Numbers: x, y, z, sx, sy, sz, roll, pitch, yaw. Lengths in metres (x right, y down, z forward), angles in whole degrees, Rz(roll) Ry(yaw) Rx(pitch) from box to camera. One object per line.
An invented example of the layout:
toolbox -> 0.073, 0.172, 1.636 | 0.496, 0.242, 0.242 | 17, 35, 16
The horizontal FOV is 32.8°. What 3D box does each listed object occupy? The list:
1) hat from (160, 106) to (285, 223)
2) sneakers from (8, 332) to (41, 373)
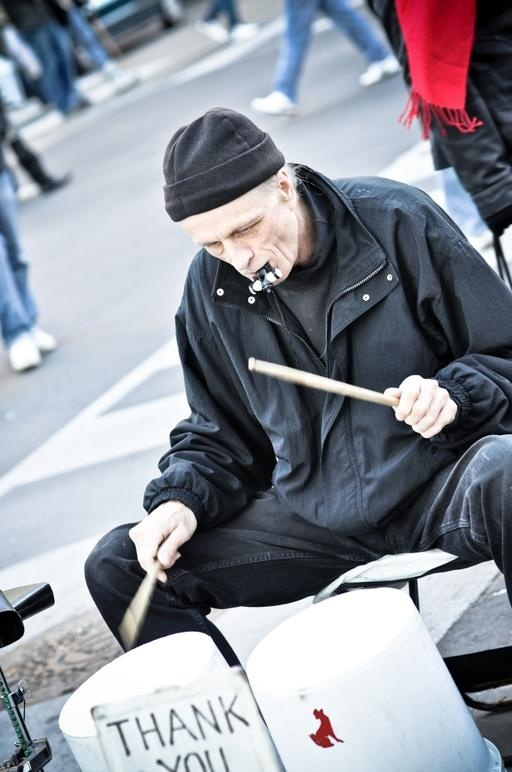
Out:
hat -> -0.071, -0.460, 1.767 | 0.248, 0.152, 0.237 | -15, 23, 34
sneakers -> -0.934, -0.138, 3.474 | 0.120, 0.071, 0.200 | -28, -4, -7
